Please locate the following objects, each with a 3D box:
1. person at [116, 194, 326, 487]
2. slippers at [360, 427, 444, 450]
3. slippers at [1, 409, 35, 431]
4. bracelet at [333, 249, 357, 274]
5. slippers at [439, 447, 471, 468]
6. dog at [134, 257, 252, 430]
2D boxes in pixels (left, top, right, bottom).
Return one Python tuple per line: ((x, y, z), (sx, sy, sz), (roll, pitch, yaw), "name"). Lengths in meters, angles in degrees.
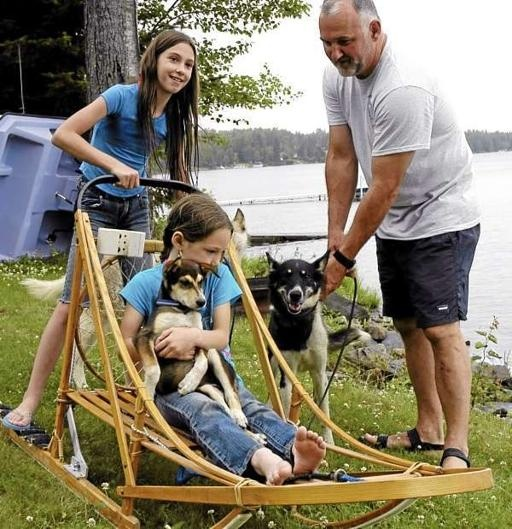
((-0.124, 0.268, 3.091), (1.228, 1.218, 0.700), (5, 5, 38), "person")
((0.933, 1.126, 4.172), (0.455, 0.153, 0.179), (4, -13, 13), "slippers")
((-1.414, 0.951, 3.855), (0.170, 0.061, 0.101), (30, -37, -9), "slippers")
((0.471, -0.037, 3.615), (0.133, 0.052, 0.128), (48, -4, -32), "bracelet")
((1.019, 0.990, 3.355), (0.079, 0.067, 0.230), (-11, -14, 15), "slippers")
((-0.277, 0.329, 3.138), (0.518, 0.777, 0.417), (3, 13, 26), "dog")
